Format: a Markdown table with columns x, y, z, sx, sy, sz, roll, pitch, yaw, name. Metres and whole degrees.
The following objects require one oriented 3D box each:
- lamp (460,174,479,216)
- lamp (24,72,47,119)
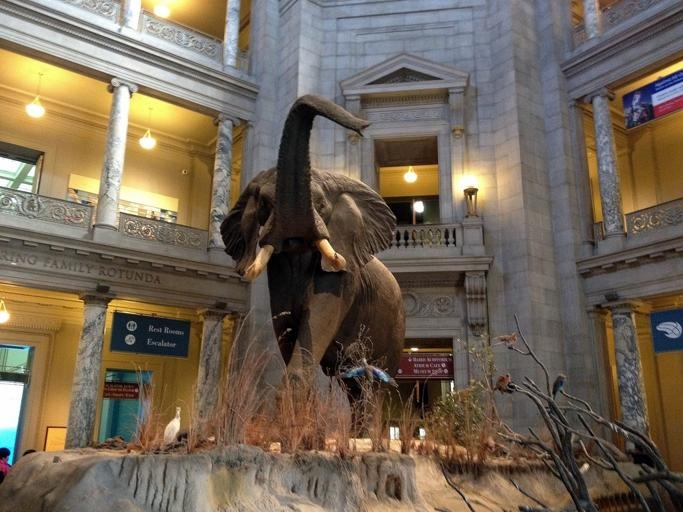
| x | y | z | sx | sy | sz | roll | pitch | yaw | name |
| --- | --- | --- | --- | --- | --- | --- | --- | --- | --- |
| 3.284 | -1.538 | 12.441 | 0.428 | 1.222 | 0.656 | -4 | -15 | 15 | lamp |
| -8.426 | -4.450 | 13.577 | 0.485 | 1.543 | 0.514 | 2 | -41 | -13 | lamp |
